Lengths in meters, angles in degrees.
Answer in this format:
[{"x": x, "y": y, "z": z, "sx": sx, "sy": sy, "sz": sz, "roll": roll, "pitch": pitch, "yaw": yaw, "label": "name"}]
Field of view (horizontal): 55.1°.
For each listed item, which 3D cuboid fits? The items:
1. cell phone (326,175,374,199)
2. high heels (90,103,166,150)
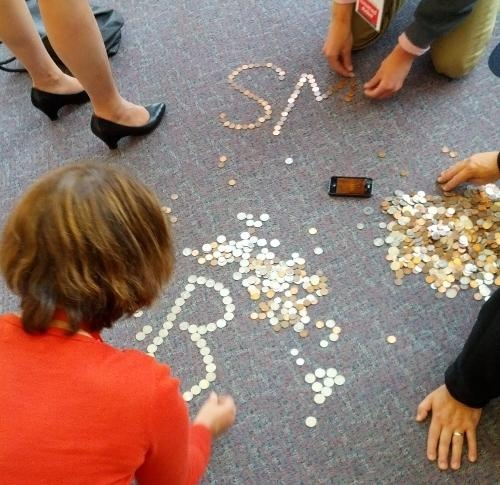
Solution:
[{"x": 0.307, "y": -0.180, "z": 1.453, "sx": 0.130, "sy": 0.026, "sz": 0.057, "roll": 3, "pitch": 73, "yaw": 11, "label": "cell phone"}, {"x": -0.422, "y": -0.393, "z": 1.636, "sx": 0.191, "sy": 0.092, "sz": 0.066, "roll": -31, "pitch": 67, "yaw": -14, "label": "high heels"}]
